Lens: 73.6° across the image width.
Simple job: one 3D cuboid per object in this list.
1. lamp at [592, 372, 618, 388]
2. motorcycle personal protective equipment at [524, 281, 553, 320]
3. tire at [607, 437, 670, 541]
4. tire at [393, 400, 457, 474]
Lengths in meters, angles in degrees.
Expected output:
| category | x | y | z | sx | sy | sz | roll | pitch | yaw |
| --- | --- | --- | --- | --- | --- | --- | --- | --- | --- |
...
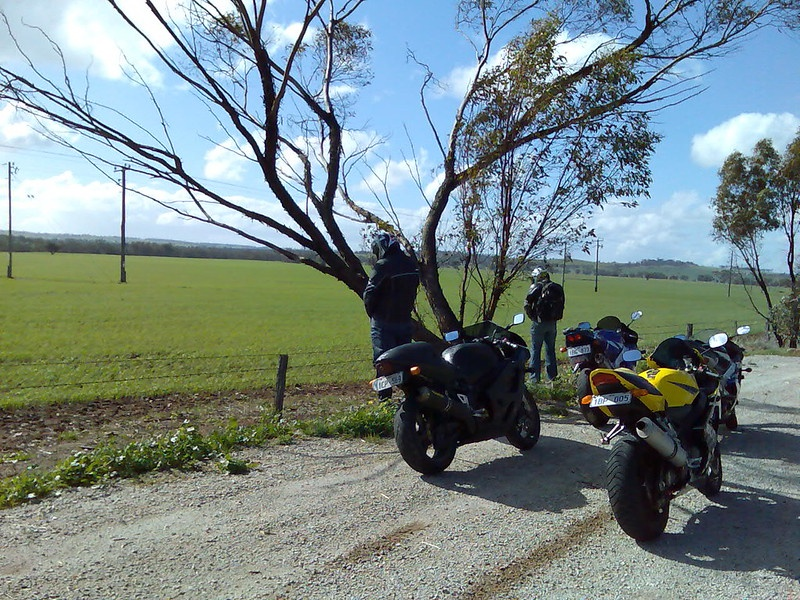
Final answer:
| category | x | y | z | sx | sy | sz | roll | pitch | yaw |
| --- | --- | --- | --- | --- | --- | --- | --- | --- | --- |
| lamp | 1.973 | 0.762 | 5.110 | 0.255 | 0.146 | 0.044 | 4 | 9 | 18 |
| motorcycle personal protective equipment | 3.091 | 0.006 | 11.774 | 0.442 | 0.859 | 0.829 | 4 | 6 | 41 |
| tire | 2.277 | 1.781 | 5.051 | 0.835 | 0.887 | 0.378 | 15 | -24 | -42 |
| tire | 0.312 | 1.638 | 6.578 | 0.842 | 0.839 | 0.922 | 5 | 0 | 2 |
